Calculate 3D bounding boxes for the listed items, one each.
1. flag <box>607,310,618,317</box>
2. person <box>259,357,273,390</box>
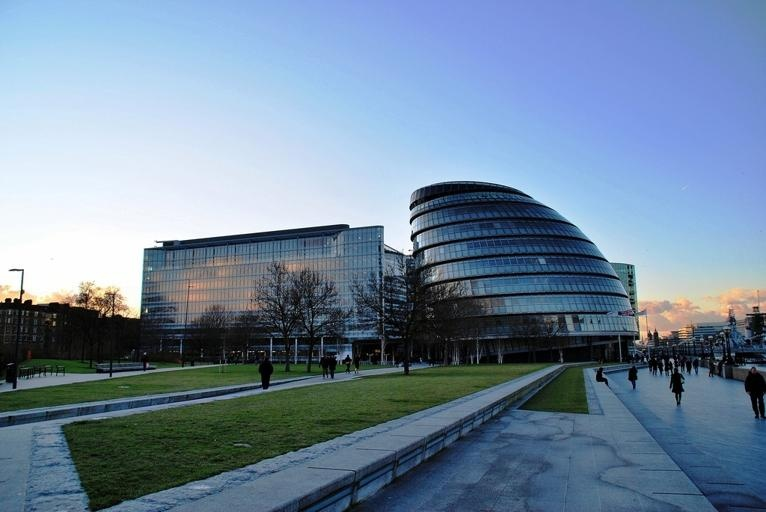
[{"bbox_3d":[49.807,12.412,104.327,3.479,1.170,0.577,7,-14,-38],"label":"flag"},{"bbox_3d":[-7.512,7.483,30.836,0.756,1.876,1.482,1,-11,-13],"label":"person"}]
